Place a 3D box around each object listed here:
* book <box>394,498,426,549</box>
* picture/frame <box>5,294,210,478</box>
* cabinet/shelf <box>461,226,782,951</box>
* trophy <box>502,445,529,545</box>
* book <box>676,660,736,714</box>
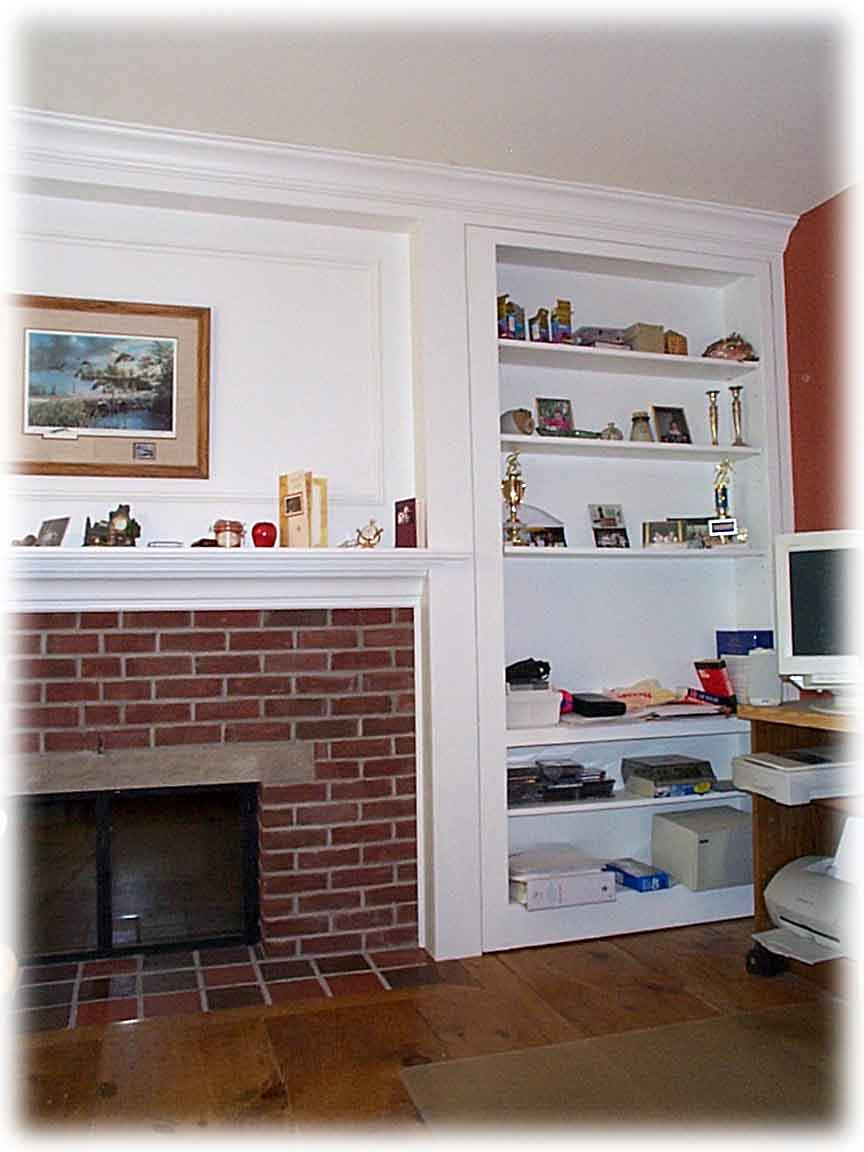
[{"bbox_3d":[-0.061,-0.158,2.746,0.023,0.215,0.159,0,1,-43],"label":"book"},{"bbox_3d":[-0.925,-0.523,2.545,0.554,0.487,0.042,2,-2,-25],"label":"picture/frame"},{"bbox_3d":[0.642,-0.001,3.019,1.217,2.225,0.404,1,-3,-25],"label":"cabinet/shelf"},{"bbox_3d":[0.267,-0.250,2.953,0.079,0.321,0.252,0,-3,6],"label":"trophy"},{"bbox_3d":[0.940,0.371,3.064,0.036,0.149,0.151,-12,7,-26],"label":"book"}]
